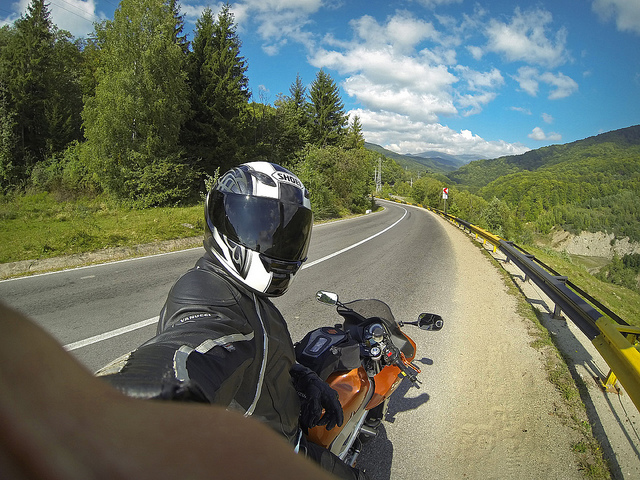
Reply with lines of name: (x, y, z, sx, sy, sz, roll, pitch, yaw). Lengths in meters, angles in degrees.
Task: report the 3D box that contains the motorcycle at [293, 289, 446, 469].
motorcycle: (0.303, 1.155, 2.953, 0.831, 1.358, 1.256, 9, 11, 34)
